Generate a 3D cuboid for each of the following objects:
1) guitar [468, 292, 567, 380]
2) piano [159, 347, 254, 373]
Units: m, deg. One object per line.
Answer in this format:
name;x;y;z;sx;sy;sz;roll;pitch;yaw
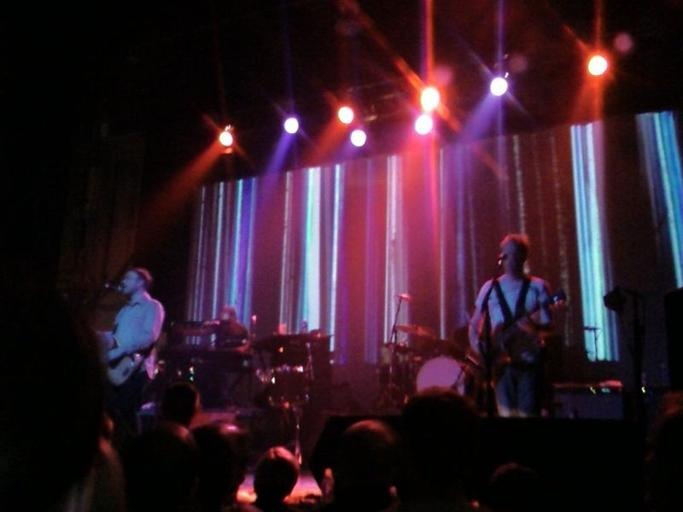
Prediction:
guitar;1.126;0.471;4.076;0.493;0.605;0.333;-4;-11;12
piano;-1.502;1.133;6.987;1.014;0.320;0.202;-5;-11;13
